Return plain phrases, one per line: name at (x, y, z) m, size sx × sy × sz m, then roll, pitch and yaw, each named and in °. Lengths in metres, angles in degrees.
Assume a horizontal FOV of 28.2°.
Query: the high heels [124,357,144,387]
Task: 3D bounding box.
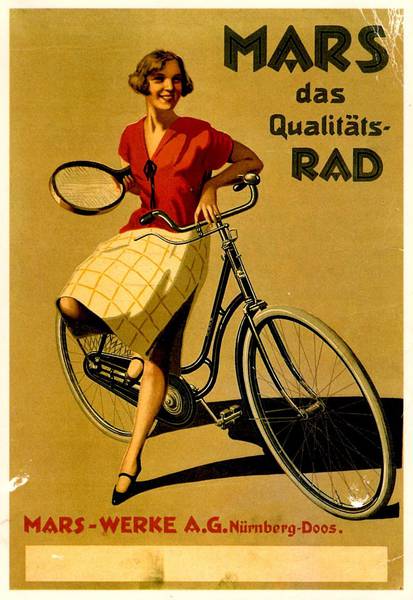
high heels at (-0.363, 0.357, 4.120) m, size 0.086 × 0.141 × 0.044 m, roll 34°, pitch 14°, yaw 39°
